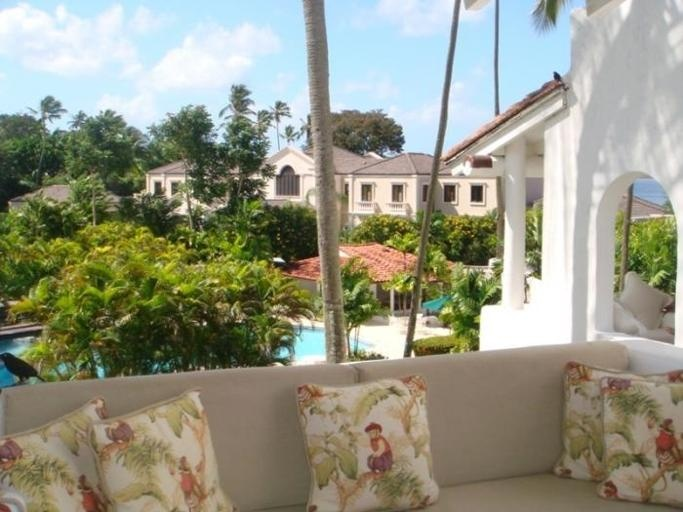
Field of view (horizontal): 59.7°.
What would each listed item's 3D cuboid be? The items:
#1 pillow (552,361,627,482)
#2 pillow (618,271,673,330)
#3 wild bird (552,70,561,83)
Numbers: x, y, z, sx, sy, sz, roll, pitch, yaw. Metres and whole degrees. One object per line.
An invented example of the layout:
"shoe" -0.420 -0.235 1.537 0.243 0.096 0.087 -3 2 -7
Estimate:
"pillow" 1.595 1.096 3.818 0.237 0.704 0.522 16 -16 -31
"pillow" 3.093 0.459 6.094 0.397 0.568 0.777 -1 0 40
"wild bird" 2.170 -1.794 5.978 0.076 0.128 0.137 -1 0 20
